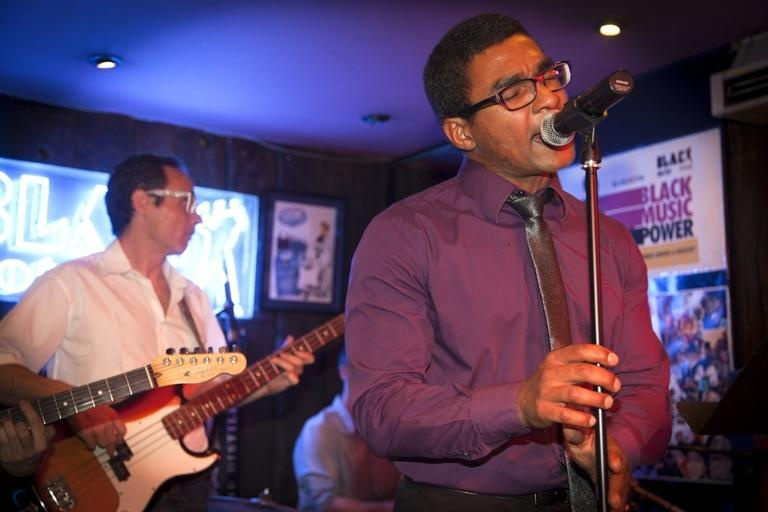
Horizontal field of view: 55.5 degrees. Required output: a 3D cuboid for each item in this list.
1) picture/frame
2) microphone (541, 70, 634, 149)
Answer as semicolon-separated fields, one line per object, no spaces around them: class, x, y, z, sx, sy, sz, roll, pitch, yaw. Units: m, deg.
picture/frame;-0.679;-0.014;5.864;0.940;1.326;0.103;-1;3;-34
microphone;0.705;-0.500;2.661;0.158;0.153;0.425;31;-29;-14
